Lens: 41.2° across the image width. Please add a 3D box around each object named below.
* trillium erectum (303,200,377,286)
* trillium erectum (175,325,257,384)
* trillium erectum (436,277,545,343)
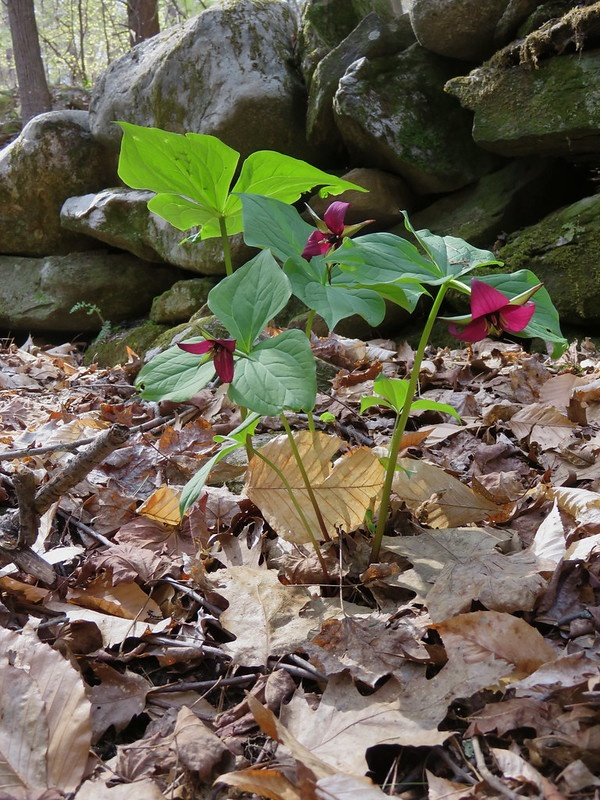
[{"bbox_3d":[0.074,-0.442,2.021,0.183,0.105,0.269,3,18,15],"label":"trillium erectum"},{"bbox_3d":[-0.195,-0.111,1.849,0.068,0.126,0.129,-7,-26,-46],"label":"trillium erectum"},{"bbox_3d":[0.428,-0.198,1.814,0.184,0.163,0.149,-2,11,-12],"label":"trillium erectum"}]
